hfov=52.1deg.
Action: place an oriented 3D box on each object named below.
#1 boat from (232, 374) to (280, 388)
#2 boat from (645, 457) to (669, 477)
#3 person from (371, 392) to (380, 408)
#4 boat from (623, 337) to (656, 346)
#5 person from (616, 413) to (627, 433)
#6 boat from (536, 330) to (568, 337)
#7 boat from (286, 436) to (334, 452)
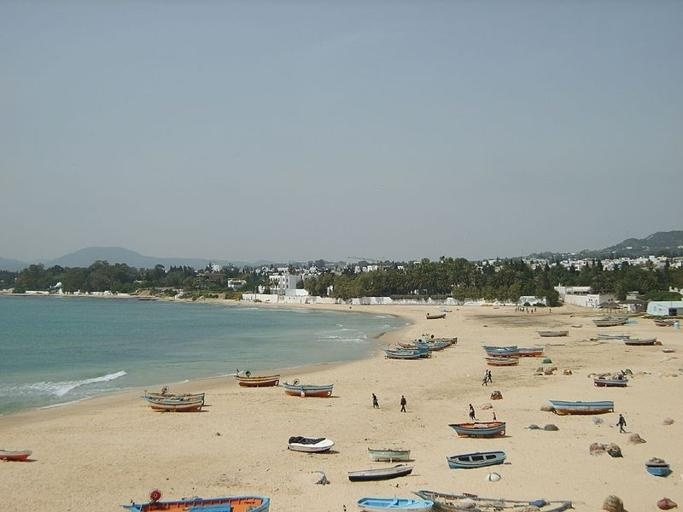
[{"bbox_3d":[-6.892,10.262,57.877,3.509,0.994,1.932,1,-8,-7],"label":"boat"},{"bbox_3d":[15.440,10.179,33.825,1.204,0.721,0.868,5,-9,-32],"label":"boat"},{"bbox_3d":[2.463,10.249,49.799,0.654,1.092,0.830,-4,23,-4],"label":"person"},{"bbox_3d":[30.745,8.747,71.838,2.870,0.743,5.044,-2,-8,11],"label":"boat"},{"bbox_3d":[15.951,9.470,39.660,0.784,1.076,0.715,-3,24,13],"label":"person"},{"bbox_3d":[25.551,9.126,83.720,3.284,0.753,1.191,2,-8,-14],"label":"boat"},{"bbox_3d":[-1.751,10.574,39.329,1.856,0.511,1.041,1,2,15],"label":"boat"}]
